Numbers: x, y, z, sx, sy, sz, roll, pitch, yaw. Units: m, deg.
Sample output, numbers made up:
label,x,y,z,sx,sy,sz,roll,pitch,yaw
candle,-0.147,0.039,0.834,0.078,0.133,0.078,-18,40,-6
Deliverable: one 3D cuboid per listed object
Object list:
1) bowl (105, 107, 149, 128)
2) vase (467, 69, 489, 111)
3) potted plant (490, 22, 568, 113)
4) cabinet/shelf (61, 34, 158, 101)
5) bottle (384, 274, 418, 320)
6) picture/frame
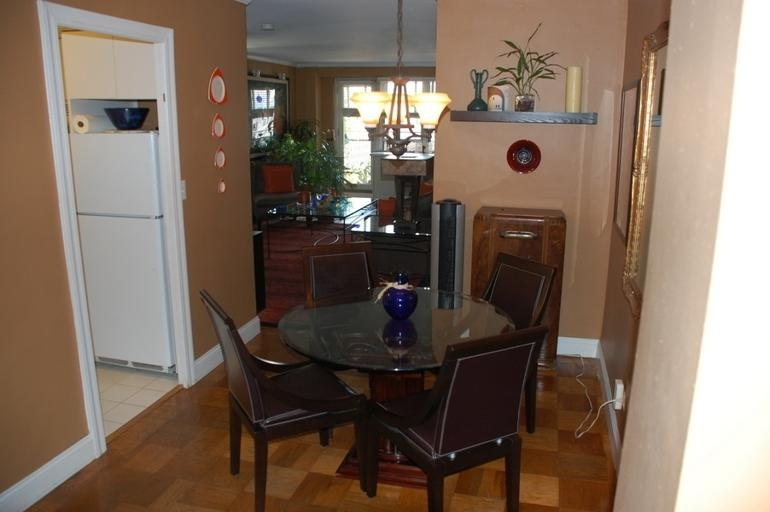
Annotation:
label,x,y,z,sx,sy,sz,roll,pitch,yaw
bowl,-1.943,-1.031,4.320,0.237,0.168,0.239,2,14,0
vase,0.732,-1.289,4.472,0.151,0.328,0.250,4,14,9
potted plant,1.070,-1.395,4.424,0.557,0.545,0.518,-7,9,-35
cabinet/shelf,-2.079,-1.392,4.268,0.330,0.439,0.648,18,22,38
bottle,0.052,0.210,3.300,0.230,0.282,0.245,-3,17,-7
picture/frame,1.390,-0.459,3.111,0.150,1.464,0.725,8,15,22
